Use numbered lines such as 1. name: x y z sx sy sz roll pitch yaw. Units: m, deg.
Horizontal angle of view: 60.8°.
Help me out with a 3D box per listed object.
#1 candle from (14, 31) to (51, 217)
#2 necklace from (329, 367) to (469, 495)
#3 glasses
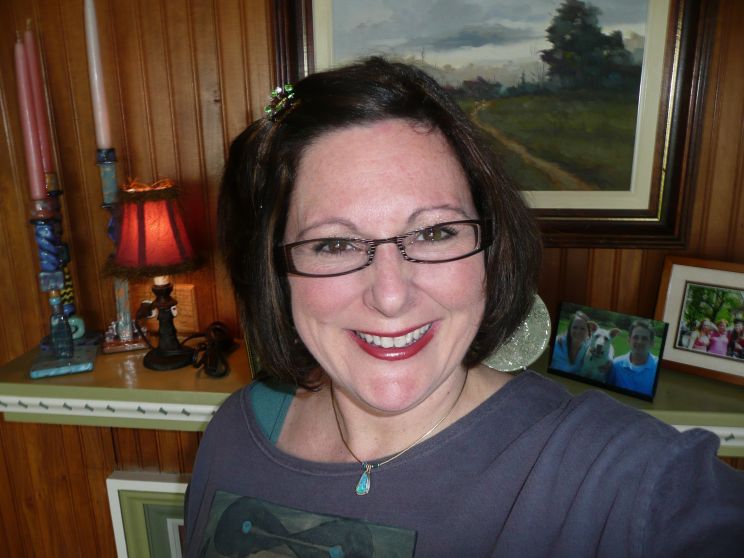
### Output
1. candle: -1.259 -0.553 2.330 0.065 0.647 0.219 -9 15 -26
2. necklace: 0.035 0.354 1.482 0.319 0.282 0.055 8 -14 25
3. glasses: 0.032 -0.067 1.430 0.484 0.120 0.094 -2 13 0
